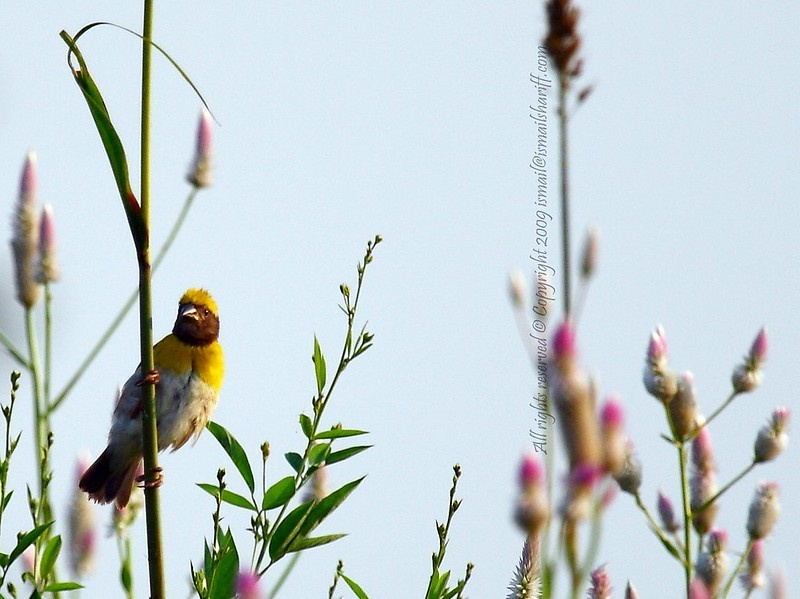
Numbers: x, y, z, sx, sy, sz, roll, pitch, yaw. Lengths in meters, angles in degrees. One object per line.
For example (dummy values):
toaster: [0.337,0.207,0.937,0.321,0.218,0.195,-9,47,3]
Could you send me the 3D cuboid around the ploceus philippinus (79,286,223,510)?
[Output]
ploceus philippinus: [-0.796,0.313,5.395,0.399,0.634,0.265,-18,-40,35]
